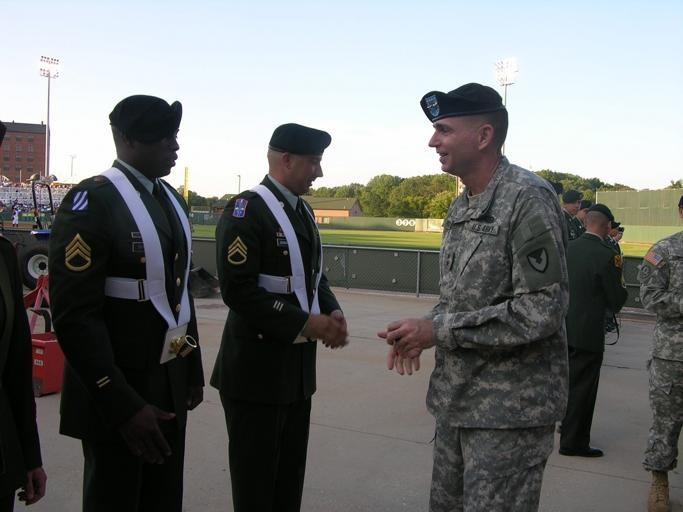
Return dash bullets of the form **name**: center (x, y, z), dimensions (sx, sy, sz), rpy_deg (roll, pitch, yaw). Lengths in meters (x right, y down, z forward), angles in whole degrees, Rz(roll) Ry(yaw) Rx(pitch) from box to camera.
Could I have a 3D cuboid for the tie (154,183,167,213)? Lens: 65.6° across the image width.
- **tie**: center (-0.904, -0.294, 2.614), dimensions (0.042, 0.130, 0.087), rpy_deg (-12, -19, 24)
